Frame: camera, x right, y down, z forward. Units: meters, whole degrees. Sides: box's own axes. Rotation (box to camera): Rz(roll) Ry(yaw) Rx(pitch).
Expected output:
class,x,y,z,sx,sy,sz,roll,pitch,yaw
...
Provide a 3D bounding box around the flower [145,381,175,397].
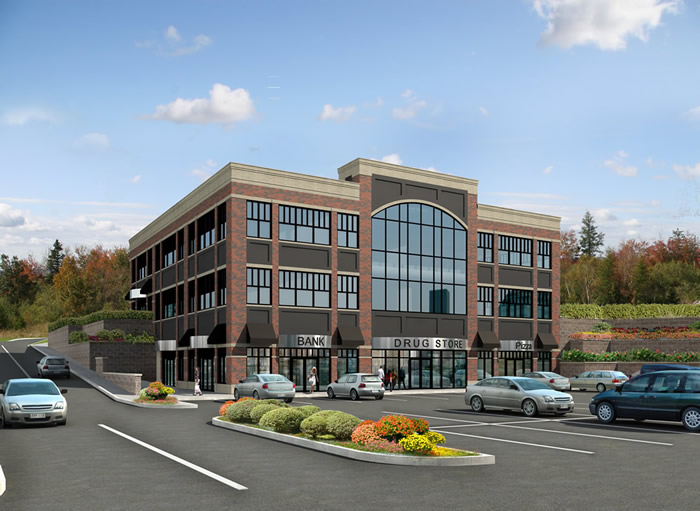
class,x,y,z,sx,sy,sz,roll,pitch,yaw
flower,-10.467,7.280,39.880,1.066,0.760,1.113,0,-5,-16

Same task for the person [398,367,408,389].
class,x,y,z,sx,sy,sz,roll,pitch,yaw
person,3.965,9.091,55.145,0.419,1.571,0.957,-7,-13,35
